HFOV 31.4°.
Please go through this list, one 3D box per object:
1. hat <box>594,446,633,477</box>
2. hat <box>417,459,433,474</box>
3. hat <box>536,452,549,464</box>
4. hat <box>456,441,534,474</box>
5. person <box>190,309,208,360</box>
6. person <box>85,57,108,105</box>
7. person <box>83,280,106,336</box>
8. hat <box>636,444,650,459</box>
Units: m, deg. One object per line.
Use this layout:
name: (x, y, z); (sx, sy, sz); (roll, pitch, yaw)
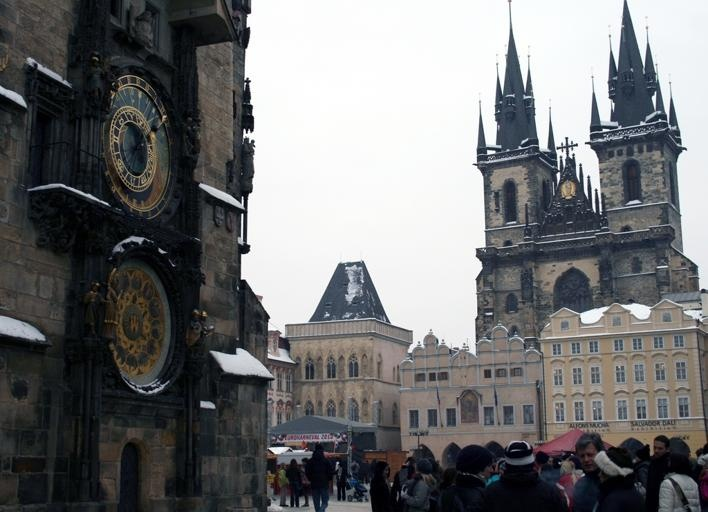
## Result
hat: (4.409, 3.418, 21.271); (0.489, 0.246, 0.423); (-8, 24, -20)
hat: (1.385, 4.041, 24.467); (0.327, 0.308, 0.252); (2, -16, -15)
hat: (3.899, 4.125, 25.956); (0.217, 0.212, 0.336); (1, 6, 20)
hat: (2.318, 3.321, 21.036); (1.140, 0.509, 0.628); (-2, -7, 1)
person: (-3.727, 1.778, 30.070); (0.313, 1.017, 0.745); (-7, -16, 17)
person: (-5.732, -3.872, 27.926); (0.473, 1.140, 0.257); (6, -17, -27)
person: (-5.686, 1.130, 27.285); (0.463, 1.091, 0.282); (4, -17, -21)
hat: (5.731, 3.830, 24.893); (0.250, 0.279, 0.340); (-7, -18, 41)
